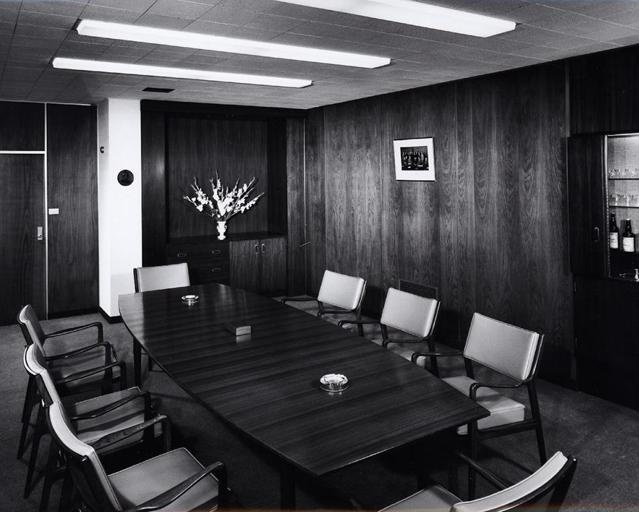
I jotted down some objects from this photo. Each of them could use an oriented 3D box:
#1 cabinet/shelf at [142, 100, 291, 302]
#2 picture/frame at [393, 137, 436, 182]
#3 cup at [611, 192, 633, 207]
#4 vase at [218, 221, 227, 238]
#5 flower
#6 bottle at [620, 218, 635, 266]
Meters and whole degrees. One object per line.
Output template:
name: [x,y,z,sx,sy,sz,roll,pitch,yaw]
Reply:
cabinet/shelf: [-1.685,-0.902,7.256,2.764,4.202,1.054,-1,2,-31]
picture/frame: [1.274,-1.283,6.045,0.023,0.578,0.627,-7,6,-36]
cup: [2.849,-0.526,4.309,0.126,0.085,0.127,-1,4,0]
vase: [-1.639,-0.455,7.700,0.129,0.283,0.650,0,8,-13]
flower: [-1.699,-0.991,8.001,0.819,0.533,0.821,2,6,40]
bottle: [2.898,-0.134,4.291,0.141,0.426,0.103,7,9,33]
